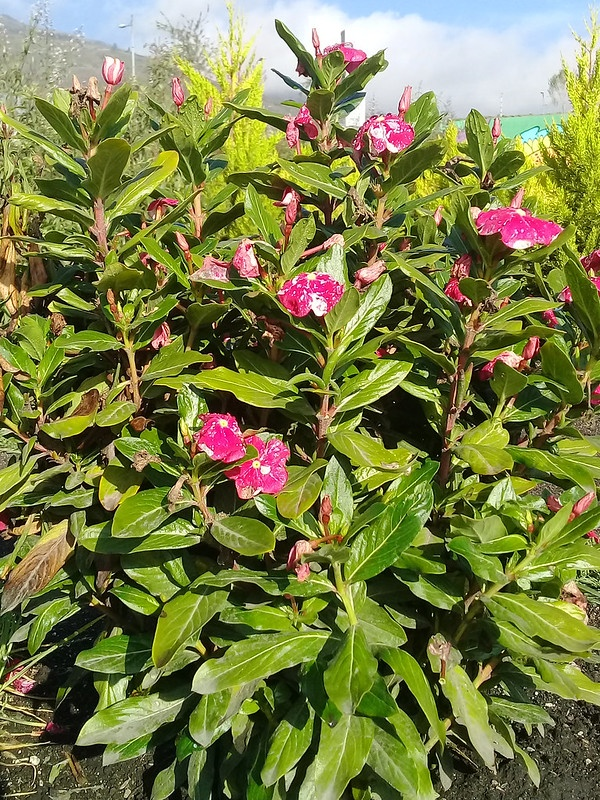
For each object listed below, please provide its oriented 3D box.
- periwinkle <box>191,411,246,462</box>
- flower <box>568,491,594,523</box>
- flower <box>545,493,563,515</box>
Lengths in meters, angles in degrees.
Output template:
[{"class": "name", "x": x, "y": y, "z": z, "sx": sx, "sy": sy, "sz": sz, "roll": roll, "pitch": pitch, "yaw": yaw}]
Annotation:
[{"class": "periwinkle", "x": -0.175, "y": 0.078, "z": 1.341, "sx": 0.099, "sy": 0.089, "sz": 0.142, "roll": -5, "pitch": 24, "yaw": -12}, {"class": "flower", "x": 0.687, "y": 0.264, "z": 1.533, "sx": 0.025, "sy": 0.077, "sz": 0.026, "roll": 34, "pitch": 19, "yaw": -11}, {"class": "flower", "x": 0.698, "y": 0.287, "z": 1.727, "sx": 0.039, "sy": 0.049, "sz": 0.019, "roll": -14, "pitch": -25, "yaw": 41}]
